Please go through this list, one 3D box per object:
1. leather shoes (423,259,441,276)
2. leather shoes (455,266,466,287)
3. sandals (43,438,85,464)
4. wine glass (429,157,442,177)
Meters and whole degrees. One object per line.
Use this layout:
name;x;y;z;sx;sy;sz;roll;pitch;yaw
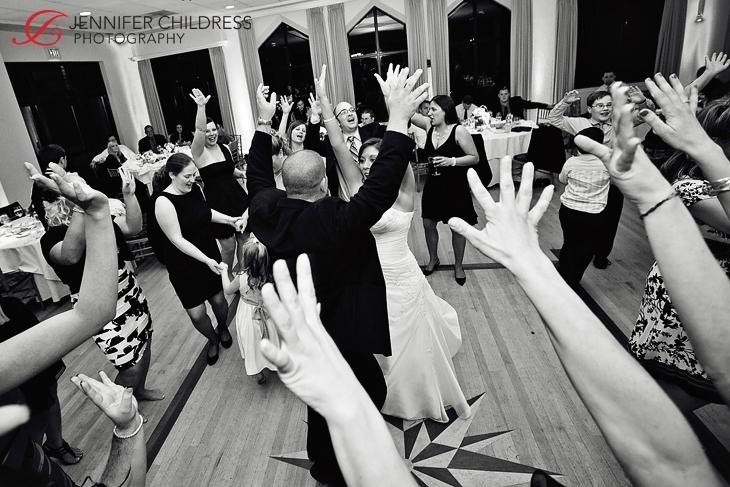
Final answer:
leather shoes;0.686;0.249;4.194;0.110;0.139;0.333;2;11;34
leather shoes;0.923;0.308;3.906;0.067;0.087;0.219;-6;48;6
sandals;-1.861;1.286;2.520;0.218;0.107;0.116;21;20;-19
wine glass;0.625;-0.694;3.643;0.105;0.184;0.126;-15;55;-7
